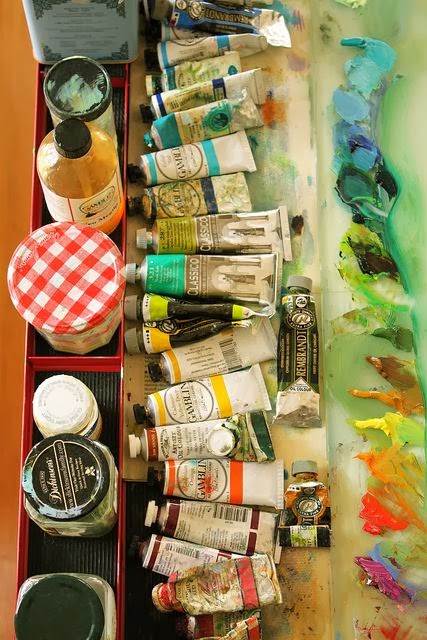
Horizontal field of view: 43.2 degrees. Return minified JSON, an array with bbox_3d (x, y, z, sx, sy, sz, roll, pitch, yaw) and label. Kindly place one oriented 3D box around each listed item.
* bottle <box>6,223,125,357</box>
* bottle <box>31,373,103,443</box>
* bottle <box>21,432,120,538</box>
[{"bbox_3d":[-0.182,-0.054,0.667,0.138,0.041,0.146,0,58,0],"label":"bottle"},{"bbox_3d":[-0.180,0.104,0.687,0.074,0.079,0.083,-6,87,-9],"label":"bottle"},{"bbox_3d":[-0.170,0.217,0.669,0.098,0.152,0.093,1,58,-2],"label":"bottle"}]
